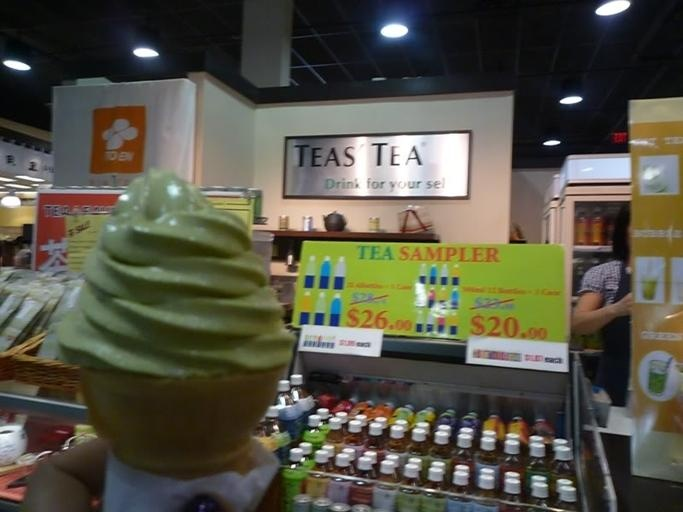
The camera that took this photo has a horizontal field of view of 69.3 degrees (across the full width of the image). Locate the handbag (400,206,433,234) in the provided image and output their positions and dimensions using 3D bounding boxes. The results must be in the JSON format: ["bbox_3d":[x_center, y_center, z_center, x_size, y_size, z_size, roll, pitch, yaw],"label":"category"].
[{"bbox_3d":[0.653,-0.301,4.210,0.265,0.250,0.218,0,8,25],"label":"handbag"}]

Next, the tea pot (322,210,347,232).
[{"bbox_3d":[-0.049,-0.297,4.313,0.177,0.168,0.161,4,7,0],"label":"tea pot"}]

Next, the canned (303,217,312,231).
[{"bbox_3d":[-0.301,-0.281,4.425,0.105,0.158,0.110,1,-9,-6],"label":"canned"}]

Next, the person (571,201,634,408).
[{"bbox_3d":[1.453,0.282,2.778,0.282,1.052,0.556,1,1,27],"label":"person"}]

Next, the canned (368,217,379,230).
[{"bbox_3d":[0.286,-0.274,4.306,0.098,0.108,0.097,1,-3,-7],"label":"canned"}]
